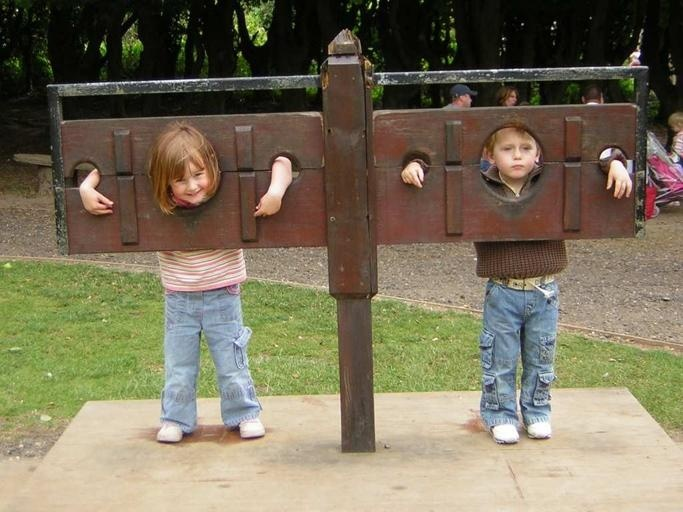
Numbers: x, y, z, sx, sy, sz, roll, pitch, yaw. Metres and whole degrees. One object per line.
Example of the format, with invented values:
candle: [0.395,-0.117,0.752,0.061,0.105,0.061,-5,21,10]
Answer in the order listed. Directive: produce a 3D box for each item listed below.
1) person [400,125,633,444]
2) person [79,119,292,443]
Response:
person: [0.831,0.134,3.580,1.034,1.556,0.441,-1,9,-1]
person: [-0.710,0.158,3.522,0.979,1.570,0.447,-1,9,-4]
